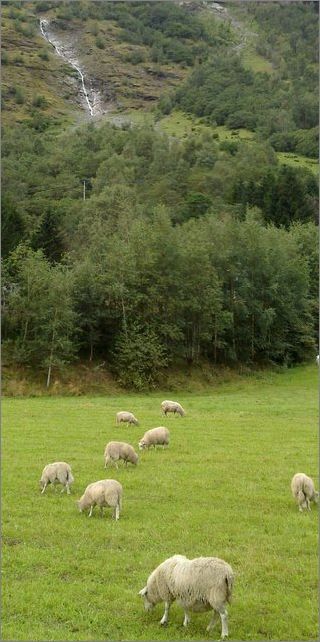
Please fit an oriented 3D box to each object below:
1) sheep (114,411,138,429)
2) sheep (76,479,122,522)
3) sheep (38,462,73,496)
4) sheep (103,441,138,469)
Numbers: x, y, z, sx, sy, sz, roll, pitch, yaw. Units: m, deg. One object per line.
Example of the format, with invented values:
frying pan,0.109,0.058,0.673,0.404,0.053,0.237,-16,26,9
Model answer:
sheep,-1.590,4.915,32.942,1.050,0.610,1.157,3,-5,1
sheep,-1.625,4.988,18.458,1.253,1.044,0.543,0,-5,34
sheep,-3.328,4.892,20.583,1.303,1.047,0.617,-10,-21,32
sheep,-1.377,4.892,24.012,1.146,0.909,1.803,3,-5,0
